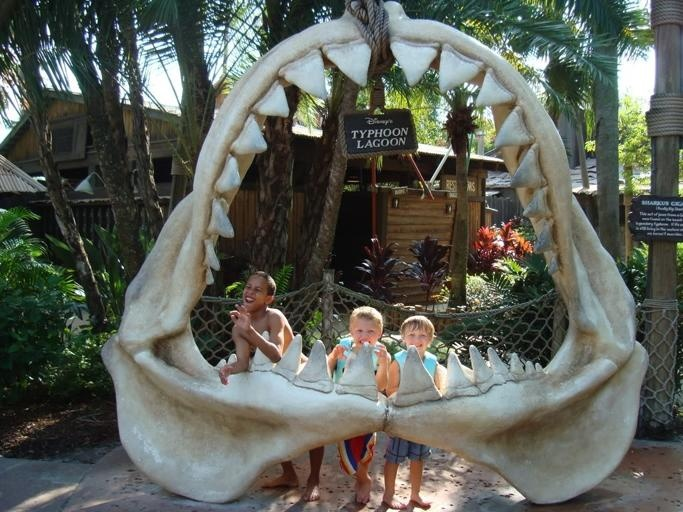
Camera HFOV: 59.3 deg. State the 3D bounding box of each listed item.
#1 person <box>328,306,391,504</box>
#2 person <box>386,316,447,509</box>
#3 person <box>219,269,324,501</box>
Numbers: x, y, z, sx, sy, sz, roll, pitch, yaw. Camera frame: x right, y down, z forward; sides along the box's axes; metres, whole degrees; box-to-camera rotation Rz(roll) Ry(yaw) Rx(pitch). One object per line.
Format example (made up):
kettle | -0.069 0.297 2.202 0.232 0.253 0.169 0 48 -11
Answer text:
person | 0.098 0.929 3.899 0.370 1.204 0.532 -2 6 -18
person | 0.463 0.976 3.792 0.387 1.147 0.783 1 6 6
person | -0.406 0.834 3.741 0.515 1.420 0.828 3 7 26
